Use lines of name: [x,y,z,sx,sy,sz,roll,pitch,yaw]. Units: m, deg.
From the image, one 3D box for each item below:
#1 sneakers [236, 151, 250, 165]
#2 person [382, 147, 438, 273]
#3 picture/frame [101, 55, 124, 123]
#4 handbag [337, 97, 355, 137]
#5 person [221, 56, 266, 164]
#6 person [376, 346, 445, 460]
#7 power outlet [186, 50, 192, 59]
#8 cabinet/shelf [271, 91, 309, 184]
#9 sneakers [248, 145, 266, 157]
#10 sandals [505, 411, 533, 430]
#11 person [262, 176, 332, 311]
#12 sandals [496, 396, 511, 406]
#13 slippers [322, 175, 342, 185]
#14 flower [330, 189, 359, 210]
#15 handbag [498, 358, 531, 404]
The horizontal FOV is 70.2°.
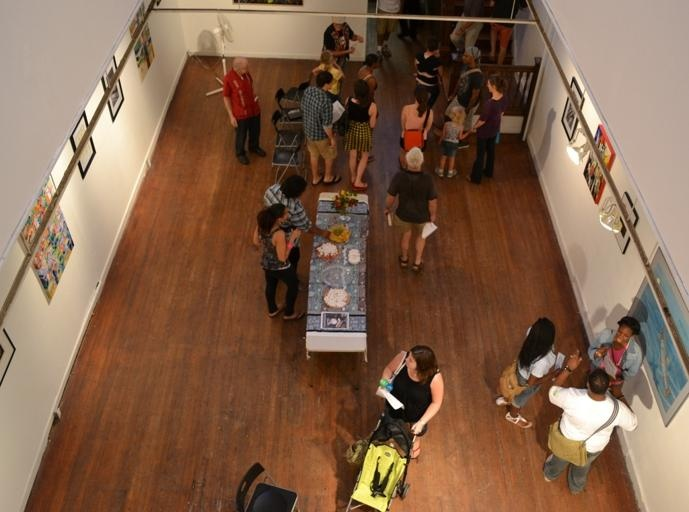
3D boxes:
sneakers: [-1.871,-1.820,9.030,0.153,0.126,0.301,-35,72,-12]
person: [0.981,-0.692,7.193,0.690,2.184,0.501,7,46,12]
picture/frame: [-3.663,-2.628,7.633,0.646,0.942,0.030,9,13,36]
handbag: [-0.001,-2.301,8.133,0.239,0.814,0.450,-5,44,-4]
person: [-1.773,-2.605,8.626,0.603,1.770,0.564,-18,45,-17]
person: [0.733,1.686,5.552,0.668,1.871,0.510,21,47,23]
power outlet: [-3.557,-4.646,11.234,0.117,0.158,0.105,1,5,-1]
cabinet/shelf: [-1.053,-2.517,8.971,0.661,1.216,1.891,-5,48,-4]
sneakers: [-1.630,-1.968,9.178,0.325,0.160,0.190,19,75,4]
sandals: [2.223,2.102,6.255,0.265,0.123,0.180,17,55,18]
person: [-0.658,-0.341,6.853,0.713,1.850,0.572,26,49,26]
sandals: [2.067,1.891,6.354,0.165,0.090,0.048,1,3,11]
slippers: [-0.209,-1.360,8.722,0.246,0.096,0.171,0,68,-4]
flower: [0.007,-0.852,7.377,0.264,0.320,0.257,2,9,28]
handbag: [2.109,1.557,6.023,0.265,0.564,0.495,2,71,2]
